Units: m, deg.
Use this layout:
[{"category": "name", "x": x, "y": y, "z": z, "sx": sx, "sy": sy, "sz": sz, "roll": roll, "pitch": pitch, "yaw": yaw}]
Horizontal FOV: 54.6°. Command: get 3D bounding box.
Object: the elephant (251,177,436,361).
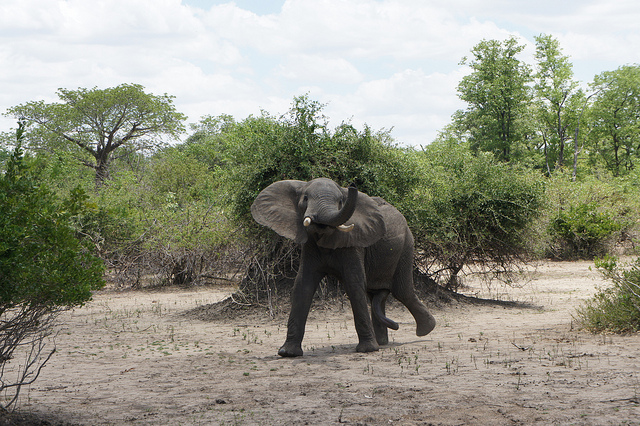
[{"category": "elephant", "x": 0.368, "y": 1.169, "z": 14.086, "sx": 2.778, "sy": 3.933, "sz": 3.553, "roll": 1, "pitch": 4, "yaw": 35}]
